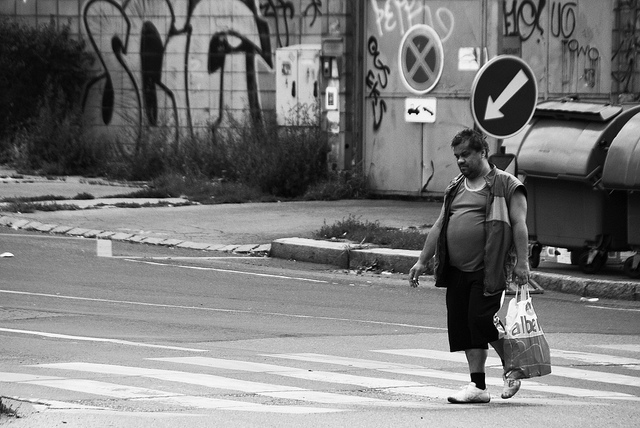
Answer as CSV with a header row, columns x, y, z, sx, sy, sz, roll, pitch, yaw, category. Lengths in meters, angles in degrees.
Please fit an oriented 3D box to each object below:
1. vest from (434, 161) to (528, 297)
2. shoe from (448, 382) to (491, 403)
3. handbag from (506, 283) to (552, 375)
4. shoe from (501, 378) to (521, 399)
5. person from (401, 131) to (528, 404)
x,y,z,sx,sy,sz,roll,pitch,yaw,category
1.958,0.193,15.890,0.982,1.479,0.614,4,13,14,vest
1.820,2.168,15.818,0.559,0.259,0.193,2,-7,-7,shoe
2.502,1.395,15.734,0.520,1.020,0.395,2,12,7,handbag
2.288,2.079,15.702,0.144,0.131,0.289,-21,24,40,shoe
1.917,0.629,15.843,1.190,3.149,0.990,2,12,7,person
